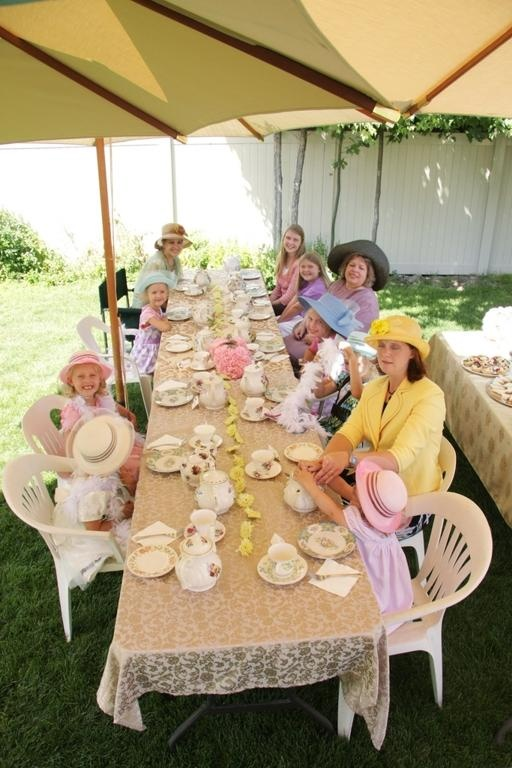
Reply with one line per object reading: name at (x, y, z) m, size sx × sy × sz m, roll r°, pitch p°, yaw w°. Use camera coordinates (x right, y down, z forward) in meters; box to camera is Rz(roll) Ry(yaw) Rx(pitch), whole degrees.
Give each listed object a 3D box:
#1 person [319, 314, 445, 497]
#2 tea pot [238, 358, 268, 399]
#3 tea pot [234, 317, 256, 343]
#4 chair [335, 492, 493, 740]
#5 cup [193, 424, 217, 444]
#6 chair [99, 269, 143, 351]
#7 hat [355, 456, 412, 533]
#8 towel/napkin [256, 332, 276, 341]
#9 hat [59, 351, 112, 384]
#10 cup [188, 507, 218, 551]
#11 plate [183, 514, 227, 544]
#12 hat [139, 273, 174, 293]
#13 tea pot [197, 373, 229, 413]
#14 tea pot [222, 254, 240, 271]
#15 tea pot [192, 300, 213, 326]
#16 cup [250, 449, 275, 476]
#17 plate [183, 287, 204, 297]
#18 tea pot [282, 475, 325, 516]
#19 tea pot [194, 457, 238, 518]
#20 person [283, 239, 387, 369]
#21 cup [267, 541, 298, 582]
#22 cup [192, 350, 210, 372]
person at (0.562, 0.087, 2.375) m, size 0.507 × 0.706 × 0.447 m, roll -10°, pitch 12°, yaw -33°
tea pot at (-0.006, -0.029, 3.070) m, size 0.139 × 0.151 × 0.179 m, roll 7°, pitch 28°, yaw 8°
tea pot at (-0.078, -0.384, 3.904) m, size 0.139 × 0.220 × 0.226 m, roll 1°, pitch 26°, yaw 5°
chair at (0.577, 0.867, 2.008) m, size 0.636 × 0.825 × 0.569 m, roll -6°, pitch 33°, yaw -1°
cup at (-0.233, 0.220, 2.463) m, size 0.084 × 0.055 × 0.082 m, roll 0°, pitch 24°, yaw 0°
chair at (-1.310, -0.731, 5.293) m, size 0.428 × 0.550 × 0.412 m, roll -5°, pitch 13°, yaw -1°
hat at (0.483, 0.337, 1.914) m, size 0.223 × 0.083 × 0.211 m, roll -2°, pitch 38°, yaw -2°
towel/napkin at (0.073, -0.362, 4.138) m, size 0.092 × 0.021 × 0.091 m, roll -3°, pitch 27°, yaw -1°
hat at (-0.855, -0.081, 2.760) m, size 0.194 × 0.086 × 0.203 m, roll -1°, pitch -8°, yaw -2°
cup at (-0.179, 0.464, 1.759) m, size 0.101 × 0.057 × 0.112 m, roll 0°, pitch 17°, yaw -4°
plate at (-0.161, 0.479, 1.801) m, size 0.102 × 0.065 × 0.125 m, roll 1°, pitch 31°, yaw -8°
hat at (-0.838, -0.856, 4.599) m, size 0.241 × 0.109 × 0.277 m, roll -11°, pitch 3°, yaw -5°
tea pot at (-0.226, 0.039, 2.910) m, size 0.151 × 0.166 × 0.191 m, roll -1°, pitch 28°, yaw -4°
tea pot at (-0.276, -1.322, 6.138) m, size 0.197 × 0.189 × 0.181 m, roll 1°, pitch 51°, yaw -1°
tea pot at (-0.417, -0.569, 4.437) m, size 0.164 × 0.200 × 0.204 m, roll 0°, pitch 35°, yaw 0°
cup at (0.025, 0.320, 2.275) m, size 0.097 × 0.083 × 0.100 m, roll -1°, pitch 21°, yaw 0°
plate at (-0.621, -0.925, 5.478) m, size 0.142 × 0.054 × 0.147 m, roll -1°, pitch 19°, yaw -1°
tea pot at (0.158, 0.421, 2.064) m, size 0.129 × 0.090 × 0.132 m, roll 0°, pitch 15°, yaw 0°
tea pot at (-0.151, 0.389, 2.074) m, size 0.168 × 0.203 × 0.214 m, roll 5°, pitch 12°, yaw 0°
person at (0.647, -0.645, 4.394) m, size 0.638 × 1.019 × 0.559 m, roll 17°, pitch 9°, yaw -9°
cup at (0.086, 0.550, 1.703) m, size 0.078 × 0.084 × 0.112 m, roll 1°, pitch 39°, yaw 3°
cup at (-0.354, -0.156, 3.500) m, size 0.125 × 0.069 × 0.129 m, roll 0°, pitch 14°, yaw 0°
